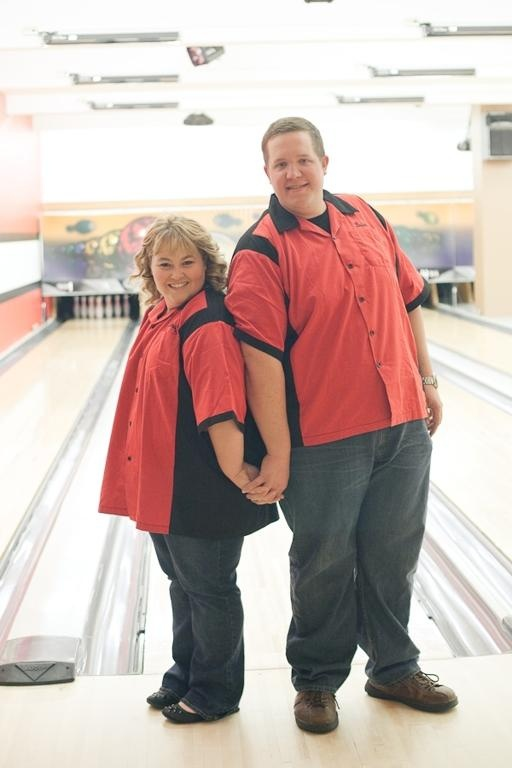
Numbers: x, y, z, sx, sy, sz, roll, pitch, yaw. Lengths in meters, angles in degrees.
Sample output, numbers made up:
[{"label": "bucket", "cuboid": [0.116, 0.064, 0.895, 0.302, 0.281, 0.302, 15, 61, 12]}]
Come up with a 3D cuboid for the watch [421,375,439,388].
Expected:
[{"label": "watch", "cuboid": [0.397, -0.008, 1.324, 0.036, 0.024, 0.038, 2, 2, 7]}]

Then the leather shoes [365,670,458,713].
[{"label": "leather shoes", "cuboid": [0.319, 0.608, 1.202, 0.184, 0.082, 0.063, 1, 10, 21]}]

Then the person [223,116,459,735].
[{"label": "person", "cuboid": [0.186, 0.067, 1.175, 0.488, 1.078, 0.242, -2, 0, -11]}]

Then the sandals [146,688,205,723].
[{"label": "sandals", "cuboid": [-0.164, 0.633, 1.159, 0.049, 0.028, 0.102, 12, -15, 20]}]
